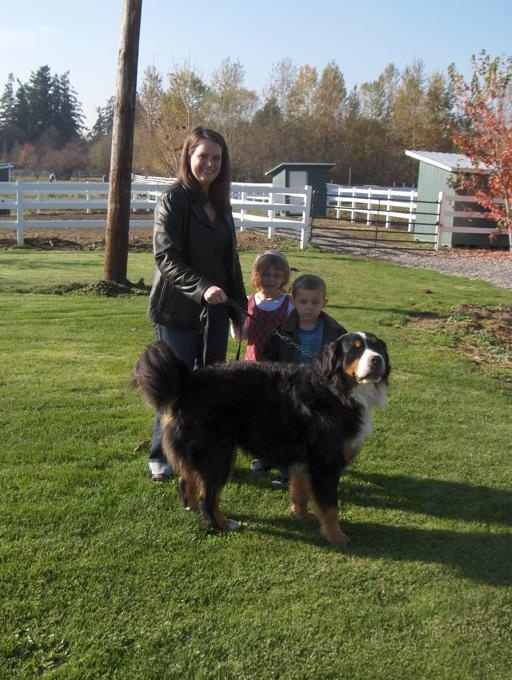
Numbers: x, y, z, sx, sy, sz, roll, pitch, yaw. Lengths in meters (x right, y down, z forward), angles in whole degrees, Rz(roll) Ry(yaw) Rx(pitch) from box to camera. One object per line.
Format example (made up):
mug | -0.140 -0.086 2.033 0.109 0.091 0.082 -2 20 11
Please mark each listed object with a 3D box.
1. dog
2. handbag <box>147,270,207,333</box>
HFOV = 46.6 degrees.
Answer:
dog | 0.040 0.522 3.258 1.372 1.028 0.495 2 -4 -7
handbag | -0.484 -0.260 3.672 0.328 0.396 0.232 7 -14 3
